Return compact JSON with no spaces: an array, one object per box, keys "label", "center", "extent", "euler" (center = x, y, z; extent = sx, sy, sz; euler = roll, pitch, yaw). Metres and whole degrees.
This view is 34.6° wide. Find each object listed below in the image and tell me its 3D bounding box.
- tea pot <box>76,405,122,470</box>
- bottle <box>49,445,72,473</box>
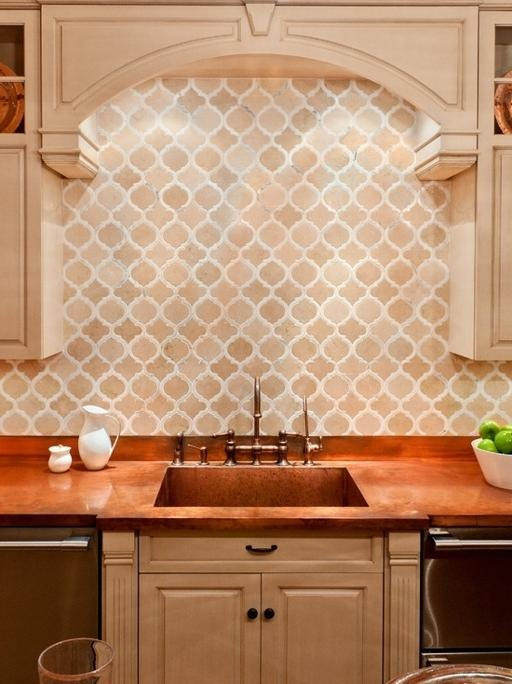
[{"label":"tea pot","center":[-0.544,0.322,2.885],"extent":[0.141,0.224,0.242],"euler":[-1,10,-7]},{"label":"bottle","center":[-0.658,0.395,2.812],"extent":[0.081,0.065,0.091],"euler":[0,-10,-3]}]
